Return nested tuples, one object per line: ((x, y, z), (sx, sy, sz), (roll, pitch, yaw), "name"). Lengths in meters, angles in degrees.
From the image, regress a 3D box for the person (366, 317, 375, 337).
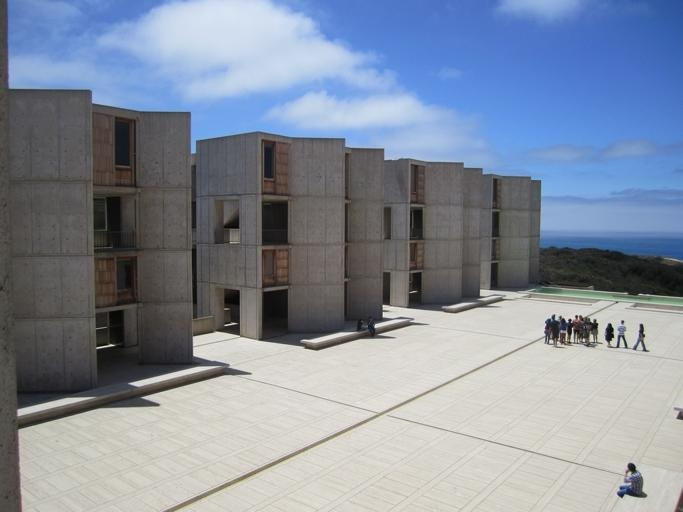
((1.772, 4.103, 31.489), (0.482, 1.014, 0.589), (1, 6, 3), "person")

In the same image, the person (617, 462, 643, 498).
((8.035, 6.078, 14.849), (0.619, 0.870, 0.943), (5, 7, 31), "person")
